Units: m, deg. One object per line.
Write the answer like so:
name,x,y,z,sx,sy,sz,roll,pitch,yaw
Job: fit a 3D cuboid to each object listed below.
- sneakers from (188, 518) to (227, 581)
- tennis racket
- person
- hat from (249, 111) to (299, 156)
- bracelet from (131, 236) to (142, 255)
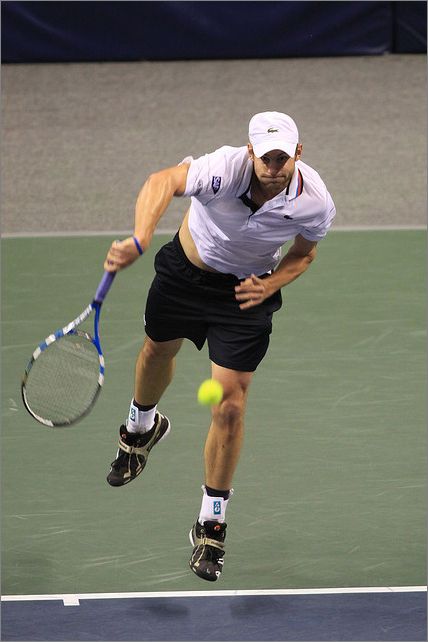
sneakers,-0.027,0.771,2.392,0.099,0.105,0.256,10,13,-9
tennis racket,-0.473,0.092,2.365,0.264,0.829,0.060,24,42,-8
person,-0.012,0.065,2.491,0.610,1.585,1.041,14,14,2
hat,0.186,-0.585,2.135,0.180,0.114,0.240,-4,29,-1
bracelet,-0.210,-0.204,1.928,0.032,0.048,0.029,10,14,-9
